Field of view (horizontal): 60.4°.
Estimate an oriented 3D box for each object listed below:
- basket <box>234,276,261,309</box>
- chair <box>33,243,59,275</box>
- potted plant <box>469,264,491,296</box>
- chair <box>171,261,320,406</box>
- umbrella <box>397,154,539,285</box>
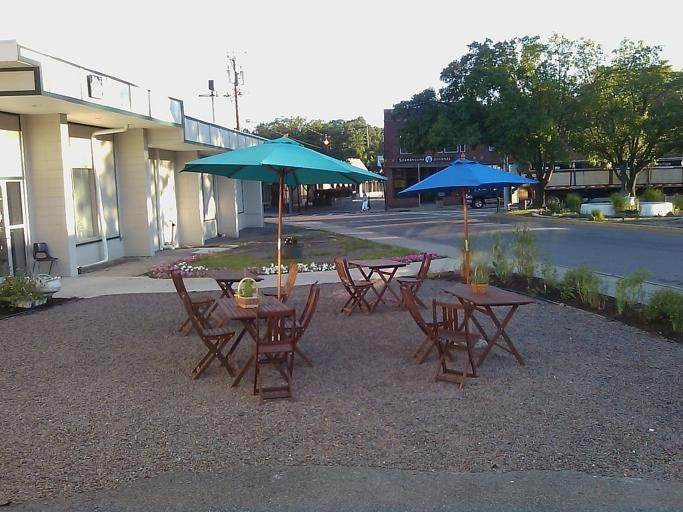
[{"bbox_3d":[-1.280,0.492,7.699,0.435,0.449,0.379,1,13,4],"label":"basket"},{"bbox_3d":[-7.455,0.103,14.763,0.639,0.837,0.625,3,5,22],"label":"chair"},{"bbox_3d":[2.144,0.371,9.106,0.362,0.487,0.348,4,12,27],"label":"potted plant"},{"bbox_3d":[-1.106,1.057,7.495,1.684,0.805,1.700,-3,18,-17],"label":"chair"},{"bbox_3d":[2.933,-0.704,13.579,2.957,2.745,3.007,1,14,26],"label":"umbrella"}]
